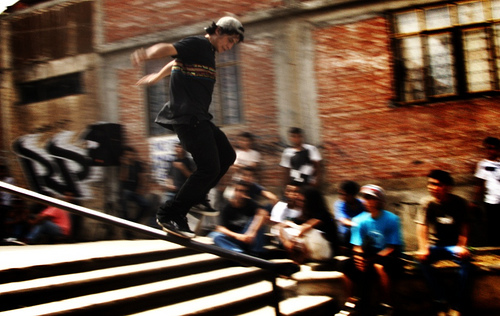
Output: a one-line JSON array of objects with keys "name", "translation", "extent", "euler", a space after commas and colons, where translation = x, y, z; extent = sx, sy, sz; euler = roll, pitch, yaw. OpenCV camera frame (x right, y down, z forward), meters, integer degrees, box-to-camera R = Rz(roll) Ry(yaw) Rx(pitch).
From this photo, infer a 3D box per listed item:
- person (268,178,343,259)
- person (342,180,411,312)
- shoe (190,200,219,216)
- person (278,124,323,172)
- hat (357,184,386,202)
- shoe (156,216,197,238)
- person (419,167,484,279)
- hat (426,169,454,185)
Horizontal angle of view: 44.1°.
[{"name": "person", "translation": [0.896, 1.150, 10.944], "extent": [0.637, 1.263, 1.098], "euler": [1, -1, -43]}, {"name": "person", "translation": [2.149, 1.564, 10.581], "extent": [1.126, 2.130, 0.511], "euler": [0, -1, 9]}, {"name": "shoe", "translation": [-0.719, 0.802, 9.837], "extent": [0.417, 0.256, 0.252], "euler": [0, -1, -11]}, {"name": "person", "translation": [1.033, -0.204, 12.472], "extent": [0.795, 0.993, 0.824], "euler": [0, -1, -7]}, {"name": "hat", "translation": [2.183, 0.650, 11.085], "extent": [0.536, 0.169, 0.328], "euler": [20, -9, -11]}, {"name": "shoe", "translation": [-1.124, 1.092, 9.638], "extent": [0.793, 0.238, 0.236], "euler": [14, -8, -4]}, {"name": "person", "translation": [3.664, 1.135, 10.839], "extent": [0.800, 1.827, 1.508], "euler": [-1, -1, 44]}, {"name": "hat", "translation": [3.254, 0.342, 10.533], "extent": [0.341, 0.243, 0.146], "euler": [0, -1, -1]}]
